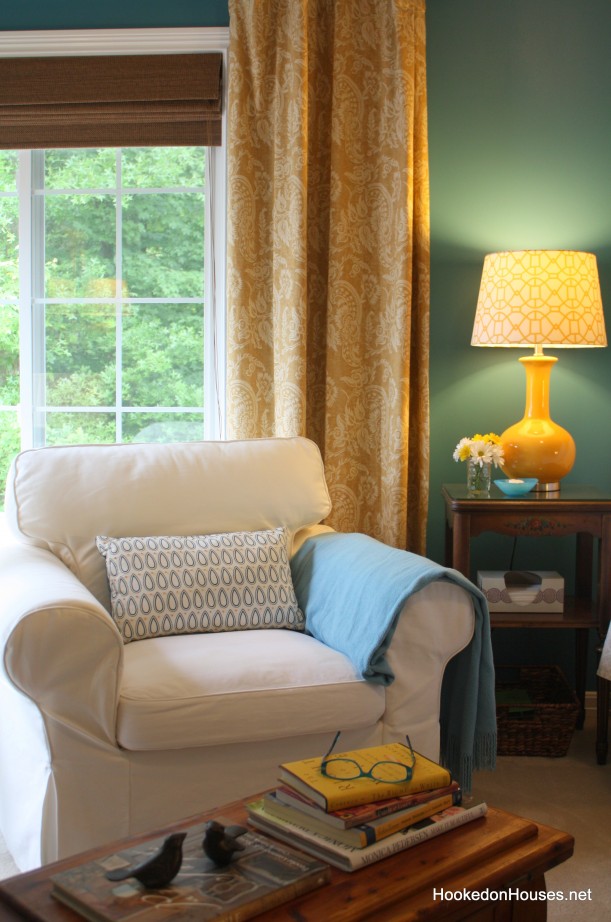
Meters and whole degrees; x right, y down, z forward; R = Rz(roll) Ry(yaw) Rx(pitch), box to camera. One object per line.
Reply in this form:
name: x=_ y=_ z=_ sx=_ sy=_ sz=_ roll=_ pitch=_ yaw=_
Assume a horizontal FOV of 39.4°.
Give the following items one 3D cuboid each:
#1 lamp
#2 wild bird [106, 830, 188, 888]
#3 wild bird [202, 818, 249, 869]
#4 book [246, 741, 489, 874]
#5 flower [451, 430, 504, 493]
lamp: x=0.664 y=-0.256 z=2.500 sx=0.369 sy=0.675 sz=0.398 roll=-1 pitch=4 yaw=-14
wild bird: x=-0.169 y=0.422 z=0.894 sx=0.082 sy=0.052 sz=0.053 roll=0 pitch=4 yaw=-9
wild bird: x=-0.085 y=0.416 z=0.921 sx=0.032 sy=0.034 sz=0.058 roll=-1 pitch=-6 yaw=10
book: x=0.081 y=0.396 z=1.038 sx=0.197 sy=0.054 sz=0.143 roll=-2 pitch=5 yaw=-43
flower: x=0.491 y=0.004 z=2.388 sx=0.139 sy=0.152 sz=0.147 roll=4 pitch=1 yaw=-31
